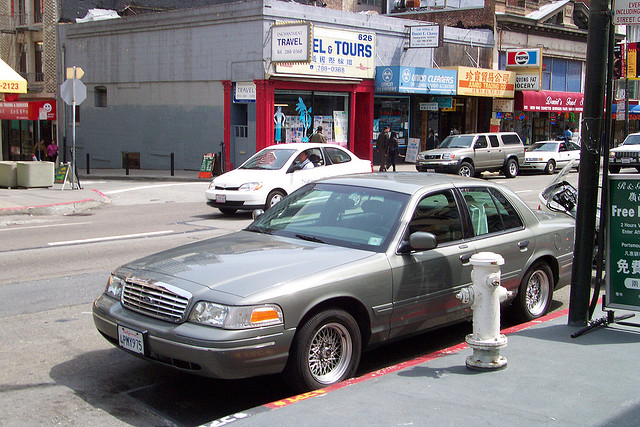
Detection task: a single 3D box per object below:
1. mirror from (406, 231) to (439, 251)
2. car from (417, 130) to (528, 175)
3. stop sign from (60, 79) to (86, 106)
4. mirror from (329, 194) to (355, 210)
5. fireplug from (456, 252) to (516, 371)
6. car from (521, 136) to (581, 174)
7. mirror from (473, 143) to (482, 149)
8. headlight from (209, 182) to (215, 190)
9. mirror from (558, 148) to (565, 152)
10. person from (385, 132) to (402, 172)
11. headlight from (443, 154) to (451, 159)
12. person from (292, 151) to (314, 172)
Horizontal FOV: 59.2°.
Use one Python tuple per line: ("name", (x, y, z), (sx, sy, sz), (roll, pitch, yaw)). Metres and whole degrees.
("mirror", (1.143, 0.316, 6.465), (0.333, 0.246, 0.253), (-3, 11, 17))
("car", (7.509, -2.702, 27.408), (5.842, 2.409, 1.710), (-15, 14, -36))
("stop sign", (-9.117, -4.498, 20.924), (0.884, 0.949, 0.552), (-1, 11, 24))
("mirror", (0.283, -0.163, 7.057), (0.175, 0.100, 0.259), (4, 10, 28))
("fireplug", (1.808, 1.071, 6.186), (0.534, 1.271, 0.364), (-6, 10, 1))
("car", (12.371, -2.997, 30.470), (3.758, 1.721, 1.412), (-14, 13, -30))
("mirror", (7.432, -3.201, 26.786), (0.377, 0.196, 0.232), (-4, 15, -12))
("headlight", (-3.077, -0.799, 16.058), (0.156, 0.167, 0.393), (-9, 12, -15))
("mirror", (13.085, -3.499, 30.594), (0.472, 0.163, 0.112), (-16, 14, -37))
("person", (3.623, -3.151, 28.873), (0.644, 1.958, 0.892), (-5, 10, 7))
("headlight", (5.766, -2.620, 25.795), (0.312, 0.196, 0.146), (-1, 12, 26))
("person", (-0.504, -1.485, 16.299), (0.449, 0.740, 1.032), (7, -2, -14))
